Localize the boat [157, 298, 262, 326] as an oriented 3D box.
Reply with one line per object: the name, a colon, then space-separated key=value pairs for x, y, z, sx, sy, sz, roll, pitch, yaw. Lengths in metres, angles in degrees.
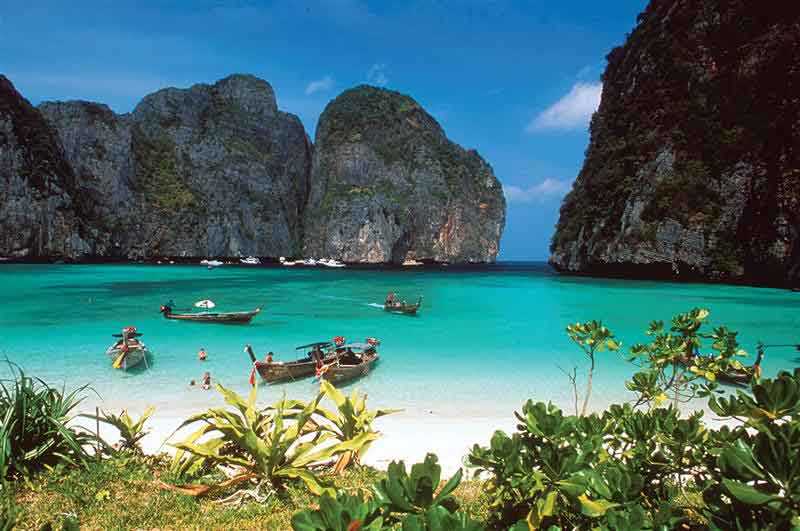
boat: x=-16.948 y=4.114 z=49.258 sx=9.135 sy=2.205 sz=5.430 roll=4 pitch=2 yaw=37

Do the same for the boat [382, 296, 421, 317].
boat: x=-0.266 y=4.118 z=53.447 sx=4.412 sy=1.866 sz=1.614 roll=-2 pitch=-2 yaw=43

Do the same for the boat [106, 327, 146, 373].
boat: x=-19.348 y=6.077 z=39.480 sx=2.304 sy=2.909 sz=1.335 roll=2 pitch=2 yaw=-23

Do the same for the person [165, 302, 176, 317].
person: x=-21.304 y=4.114 z=51.293 sx=0.881 sy=0.677 sz=1.865 roll=4 pitch=-41 yaw=-34

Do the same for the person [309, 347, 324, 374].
person: x=-5.805 y=6.584 z=38.362 sx=0.633 sy=0.920 sz=2.418 roll=10 pitch=9 yaw=-17

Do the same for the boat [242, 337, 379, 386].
boat: x=-5.574 y=6.826 z=38.373 sx=7.857 sy=3.140 sz=2.417 roll=3 pitch=2 yaw=-10

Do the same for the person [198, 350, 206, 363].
person: x=-14.557 y=6.647 z=40.807 sx=0.390 sy=0.574 sz=1.131 roll=5 pitch=13 yaw=-16
